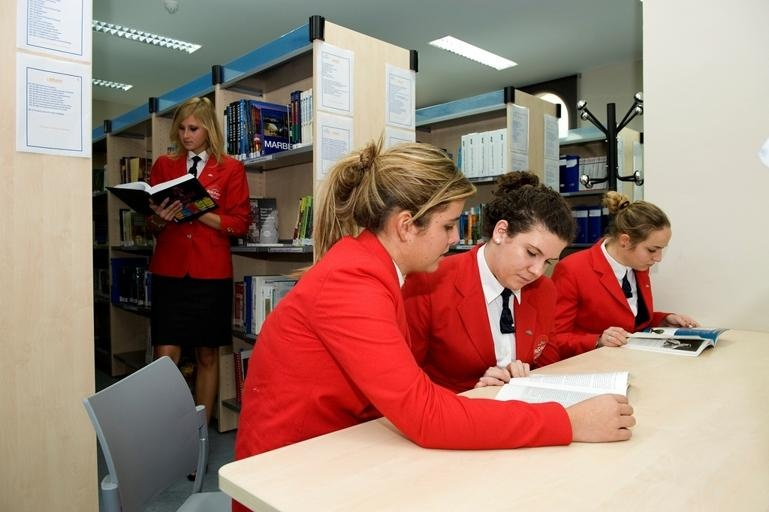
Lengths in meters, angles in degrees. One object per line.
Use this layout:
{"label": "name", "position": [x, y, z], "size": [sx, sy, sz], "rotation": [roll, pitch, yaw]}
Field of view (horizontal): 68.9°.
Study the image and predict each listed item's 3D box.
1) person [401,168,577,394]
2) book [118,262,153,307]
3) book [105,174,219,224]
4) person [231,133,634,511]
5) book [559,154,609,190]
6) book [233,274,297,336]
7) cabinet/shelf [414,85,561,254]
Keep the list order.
{"label": "person", "position": [0.490, 0.152, 2.585], "size": [0.765, 1.019, 0.635], "rotation": [3, 19, -13]}
{"label": "book", "position": [-2.253, 0.277, 5.092], "size": [0.391, 0.375, 0.222], "rotation": [-7, -10, 44]}
{"label": "book", "position": [-1.303, -0.336, 3.386], "size": [0.612, 0.266, 0.384], "rotation": [0, 5, 11]}
{"label": "person", "position": [-0.069, 0.129, 2.776], "size": [1.593, 2.096, 0.940], "rotation": [0, 0, -5]}
{"label": "book", "position": [1.878, -0.785, 5.292], "size": [0.400, 0.359, 0.216], "rotation": [2, 0, 12]}
{"label": "book", "position": [-0.875, 0.305, 3.843], "size": [0.167, 0.441, 0.442], "rotation": [3, 2, -31]}
{"label": "cabinet/shelf", "position": [0.906, -0.754, 5.477], "size": [0.843, 1.309, 1.396], "rotation": [4, -4, -38]}
